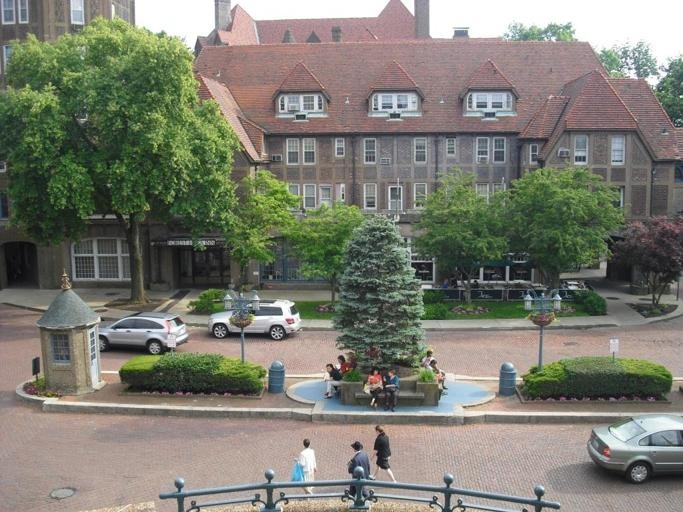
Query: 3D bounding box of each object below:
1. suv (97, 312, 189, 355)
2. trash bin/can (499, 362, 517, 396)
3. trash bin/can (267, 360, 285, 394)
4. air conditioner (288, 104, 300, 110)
[{"bbox_3d":[-10.418,3.999,57.647,4.452,1.565,1.937,2,-1,3],"label":"suv"},{"bbox_3d":[7.800,5.799,51.339,0.869,1.498,0.554,0,1,9],"label":"trash bin/can"},{"bbox_3d":[-3.074,5.735,51.792,0.795,1.486,0.576,0,1,-5],"label":"trash bin/can"},{"bbox_3d":[-3.212,-10.030,74.109,0.705,0.386,0.381,0,-1,-3],"label":"air conditioner"}]
